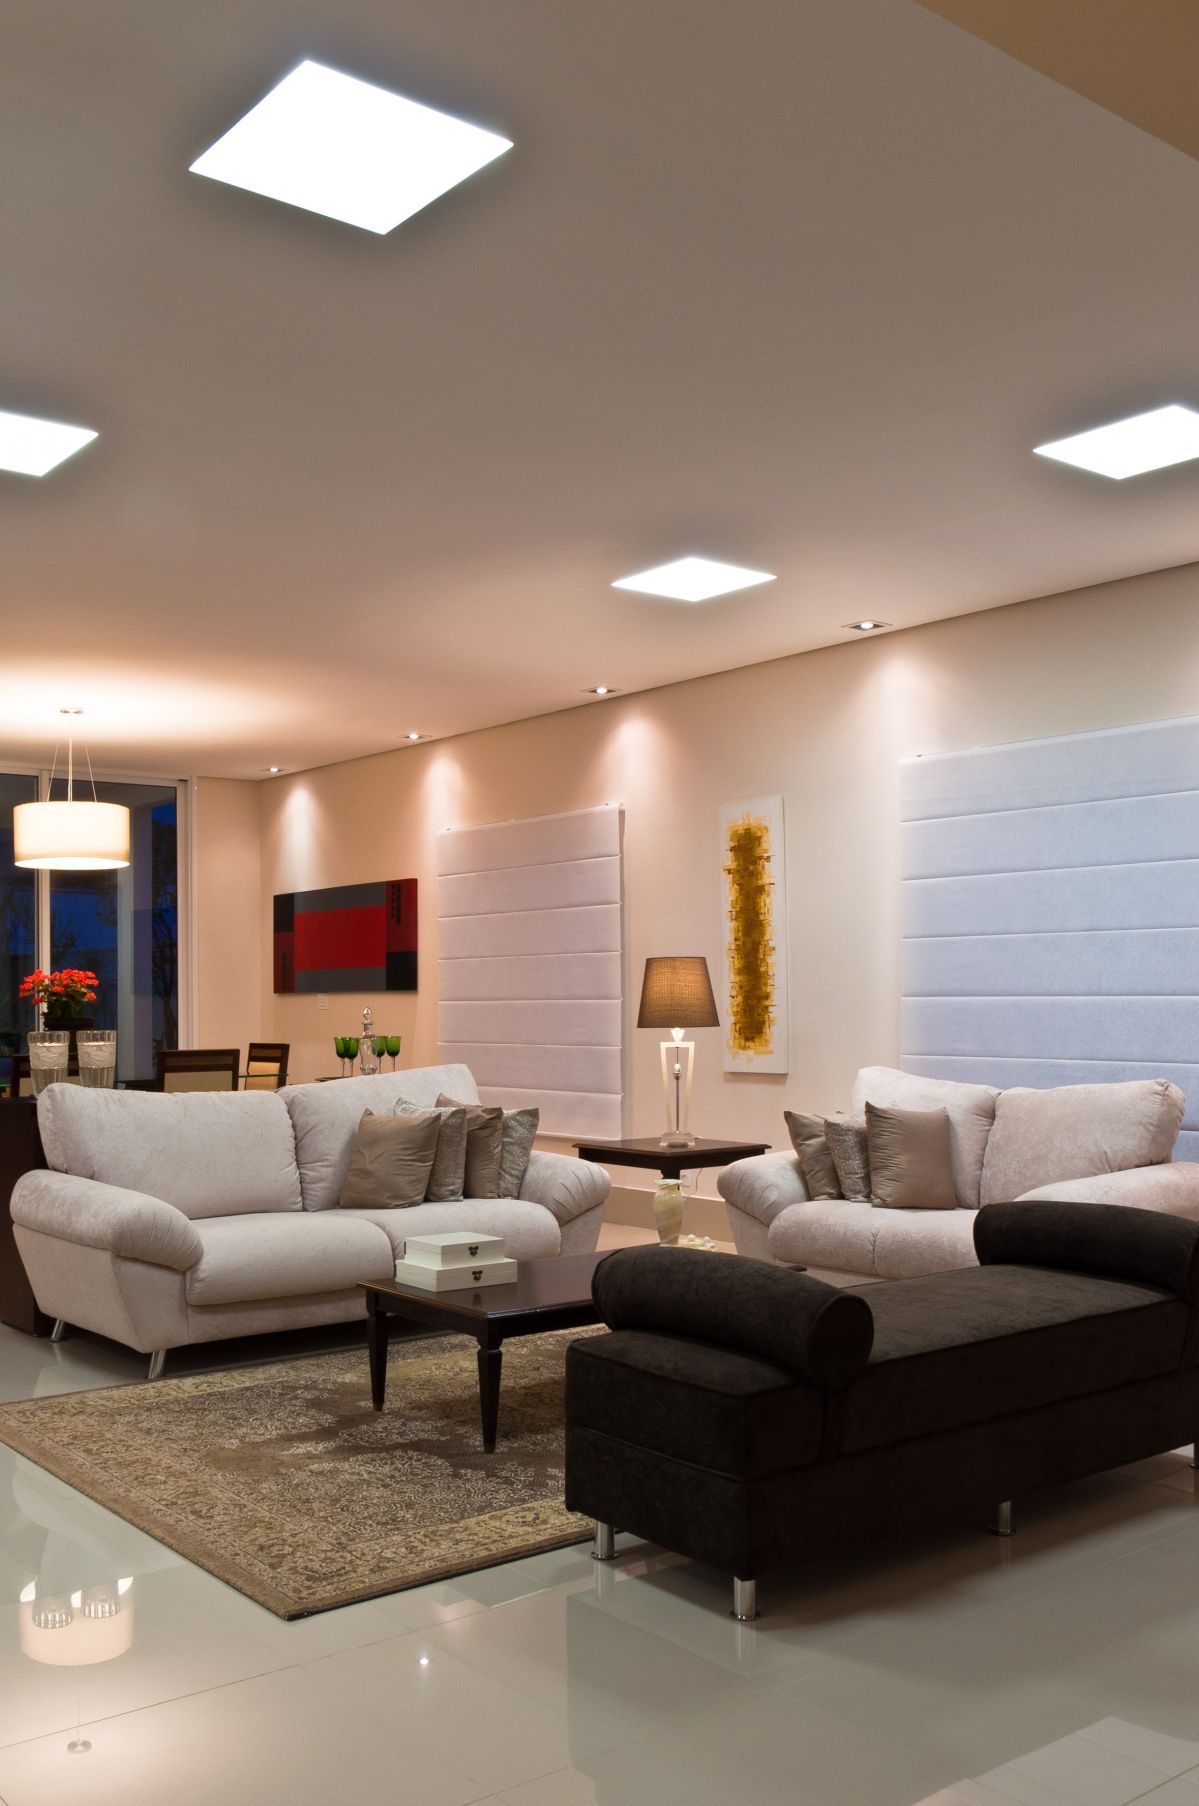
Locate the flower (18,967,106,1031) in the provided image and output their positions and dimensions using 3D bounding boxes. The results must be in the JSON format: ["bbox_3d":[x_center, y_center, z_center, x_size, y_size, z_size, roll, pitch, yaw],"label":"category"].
[{"bbox_3d":[-2.936,0.520,7.141,0.313,0.339,0.648,2,-8,-16],"label":"flower"}]

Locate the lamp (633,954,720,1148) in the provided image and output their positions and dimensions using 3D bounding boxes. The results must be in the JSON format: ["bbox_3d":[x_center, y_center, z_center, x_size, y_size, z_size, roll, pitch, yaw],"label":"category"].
[{"bbox_3d":[0.385,0.714,6.554,0.363,0.898,0.844,-1,-8,3],"label":"lamp"}]

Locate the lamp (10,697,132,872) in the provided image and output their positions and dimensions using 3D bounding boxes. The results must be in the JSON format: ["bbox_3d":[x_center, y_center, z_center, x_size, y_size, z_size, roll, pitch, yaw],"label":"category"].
[{"bbox_3d":[-3.416,-0.718,8.440,0.582,1.169,2.072,3,-9,-24],"label":"lamp"}]

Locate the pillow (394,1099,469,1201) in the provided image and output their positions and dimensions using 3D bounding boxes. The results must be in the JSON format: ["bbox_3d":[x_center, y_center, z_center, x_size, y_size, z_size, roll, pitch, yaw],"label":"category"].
[{"bbox_3d":[-0.653,0.979,5.119,0.150,0.379,0.331,10,-6,-34],"label":"pillow"}]

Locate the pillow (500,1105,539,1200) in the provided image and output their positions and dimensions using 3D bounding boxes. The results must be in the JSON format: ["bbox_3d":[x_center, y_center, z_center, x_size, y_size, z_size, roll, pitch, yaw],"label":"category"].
[{"bbox_3d":[-0.337,1.019,5.355,0.101,0.268,0.270,6,5,16],"label":"pillow"}]

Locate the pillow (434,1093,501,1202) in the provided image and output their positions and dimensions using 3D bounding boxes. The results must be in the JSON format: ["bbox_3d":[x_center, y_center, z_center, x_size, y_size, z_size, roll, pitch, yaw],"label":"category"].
[{"bbox_3d":[-0.524,0.988,5.212,0.336,0.369,0.146,-4,-9,42],"label":"pillow"}]

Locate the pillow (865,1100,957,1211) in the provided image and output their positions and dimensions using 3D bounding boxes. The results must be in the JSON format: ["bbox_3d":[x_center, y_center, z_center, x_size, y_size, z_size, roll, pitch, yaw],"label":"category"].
[{"bbox_3d":[1.176,0.970,4.955,0.336,0.367,0.143,2,-33,2],"label":"pillow"}]
